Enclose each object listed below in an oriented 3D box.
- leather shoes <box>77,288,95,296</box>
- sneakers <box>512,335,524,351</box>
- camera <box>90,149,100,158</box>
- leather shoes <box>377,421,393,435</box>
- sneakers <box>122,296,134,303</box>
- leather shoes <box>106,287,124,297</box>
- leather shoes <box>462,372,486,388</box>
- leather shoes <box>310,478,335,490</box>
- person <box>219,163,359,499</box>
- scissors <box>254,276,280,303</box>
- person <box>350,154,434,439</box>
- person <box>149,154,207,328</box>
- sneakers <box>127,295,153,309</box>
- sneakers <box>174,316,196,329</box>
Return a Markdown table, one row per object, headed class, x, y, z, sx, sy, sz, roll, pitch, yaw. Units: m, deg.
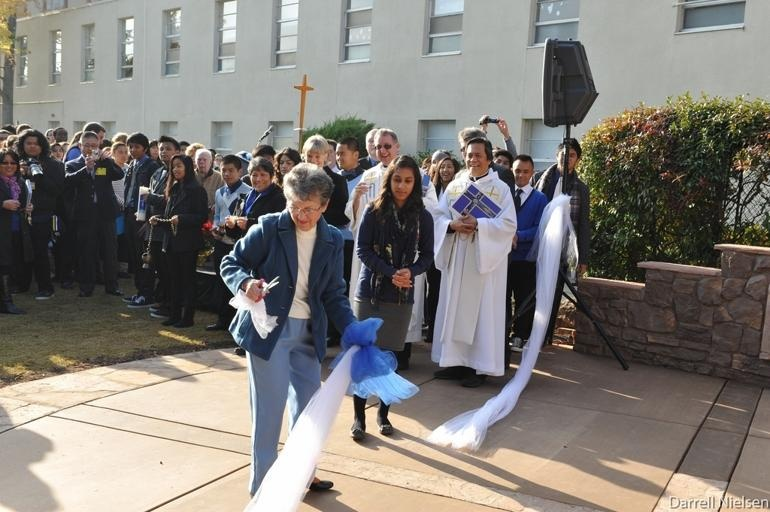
| class | x | y | z | sx | sy | sz | roll | pitch | yaw |
| --- | --- | --- | --- | --- | --- | --- | --- | --- | --- |
| leather shoes | -4.995 | 0.610 | 10.103 | 0.221 | 0.138 | 0.208 | -4 | 16 | -27 |
| sneakers | 1.892 | 1.263 | 8.666 | 0.162 | 0.165 | 0.294 | 0 | -6 | 15 |
| camera | -4.943 | -1.735 | 10.358 | 0.207 | 0.155 | 0.208 | 0 | 3 | -31 |
| leather shoes | 0.000 | 1.702 | 6.048 | 0.165 | 0.100 | 0.134 | 5 | 14 | 8 |
| sneakers | -4.243 | 0.722 | 10.001 | 0.331 | 0.140 | 0.123 | -2 | -4 | 45 |
| leather shoes | -4.669 | 0.624 | 10.400 | 0.387 | 0.176 | 0.134 | -1 | 4 | 17 |
| leather shoes | 1.056 | 1.472 | 7.276 | 0.273 | 0.117 | 0.137 | 4 | -4 | -36 |
| leather shoes | -0.546 | 1.939 | 5.191 | 0.224 | 0.095 | 0.082 | -2 | 7 | -9 |
| person | -0.766 | 0.545 | 4.888 | 0.931 | 2.525 | 0.694 | -8 | 17 | -36 |
| scissors | -0.906 | 0.233 | 4.648 | 0.176 | 0.110 | 0.066 | 2 | 50 | 45 |
| person | 0.105 | -0.034 | 6.189 | 0.805 | 1.911 | 0.703 | 1 | 14 | -5 |
| person | -2.893 | -0.209 | 8.708 | 0.678 | 2.405 | 0.639 | -2 | 14 | -16 |
| sneakers | -3.934 | 0.746 | 9.810 | 0.412 | 0.165 | 0.149 | 3 | -3 | -35 |
| sneakers | -2.872 | 0.952 | 8.709 | 0.297 | 0.211 | 0.114 | 18 | -6 | -20 |
